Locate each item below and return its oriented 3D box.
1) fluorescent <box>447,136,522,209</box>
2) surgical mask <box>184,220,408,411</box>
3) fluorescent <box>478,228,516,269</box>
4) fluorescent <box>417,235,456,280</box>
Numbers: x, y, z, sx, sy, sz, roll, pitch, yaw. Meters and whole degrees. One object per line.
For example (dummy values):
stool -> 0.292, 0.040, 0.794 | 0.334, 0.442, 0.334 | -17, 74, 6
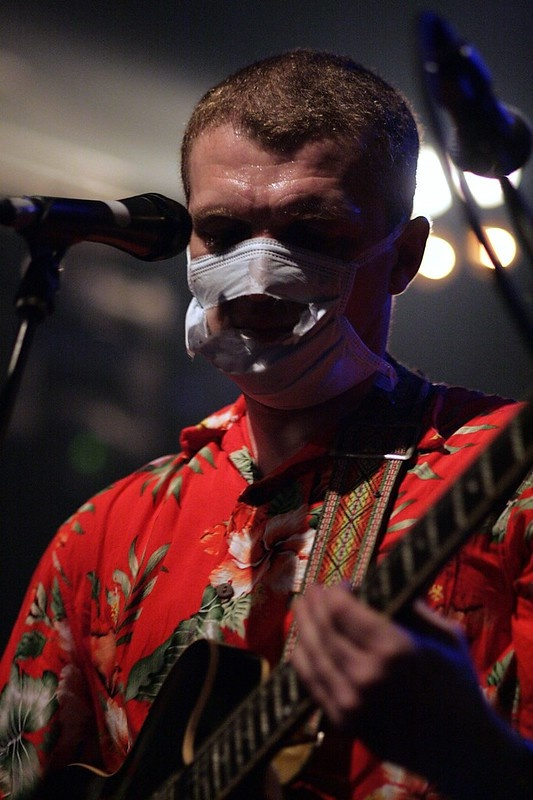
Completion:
fluorescent -> 0.205, -0.217, 0.763 | 0.079, 0.067, 0.018 | -6, 10, 4
surgical mask -> 0.033, -0.126, 1.293 | 0.275, 0.161, 0.298 | 3, -4, 18
fluorescent -> 0.230, -0.146, 0.790 | 0.010, 0.042, 0.046 | -2, 17, -39
fluorescent -> 0.201, -0.170, 0.968 | 0.012, 0.047, 0.051 | -4, 23, -45
